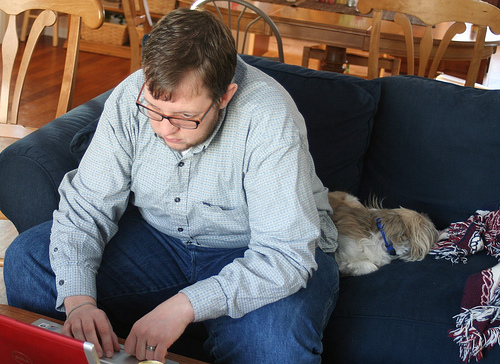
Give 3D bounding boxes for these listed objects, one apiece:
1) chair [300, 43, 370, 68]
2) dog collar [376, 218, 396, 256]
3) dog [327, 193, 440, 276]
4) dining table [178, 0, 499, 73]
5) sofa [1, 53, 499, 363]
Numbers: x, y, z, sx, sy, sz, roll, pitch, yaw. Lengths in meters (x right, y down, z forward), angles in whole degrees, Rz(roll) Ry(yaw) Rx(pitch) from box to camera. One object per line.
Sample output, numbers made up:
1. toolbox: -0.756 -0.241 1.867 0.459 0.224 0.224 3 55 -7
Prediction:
1. chair: 0.681 -0.986 3.220 0.372 0.165 0.258 9 36 15
2. dog collar: 0.485 0.189 1.469 0.027 0.104 0.075 -34 -6 30
3. dog: 0.446 0.184 1.477 0.364 0.142 0.213 26 10 20
4. dining table: 0.592 -0.867 2.431 1.348 0.442 0.891 13 24 20
5. sofa: 0.063 0.005 1.620 1.745 0.962 0.797 8 16 13
